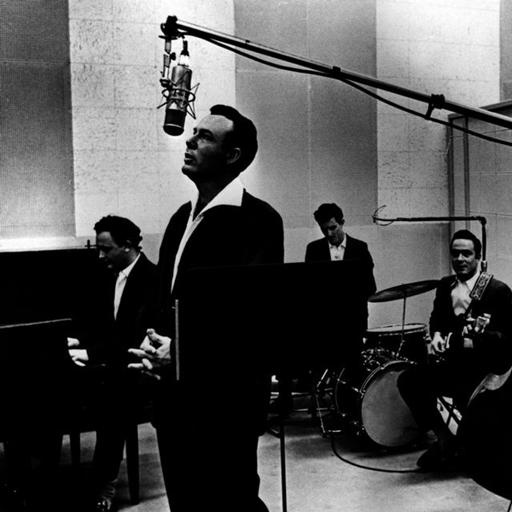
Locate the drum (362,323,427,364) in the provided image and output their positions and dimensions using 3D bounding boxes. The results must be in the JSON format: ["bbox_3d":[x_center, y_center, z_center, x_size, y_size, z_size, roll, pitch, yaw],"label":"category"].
[{"bbox_3d":[0.883,0.537,5.600,0.286,0.230,0.297,1,-2,0],"label":"drum"}]

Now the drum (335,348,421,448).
[{"bbox_3d":[0.837,0.871,5.551,0.514,0.583,0.327,-1,23,-14],"label":"drum"}]
